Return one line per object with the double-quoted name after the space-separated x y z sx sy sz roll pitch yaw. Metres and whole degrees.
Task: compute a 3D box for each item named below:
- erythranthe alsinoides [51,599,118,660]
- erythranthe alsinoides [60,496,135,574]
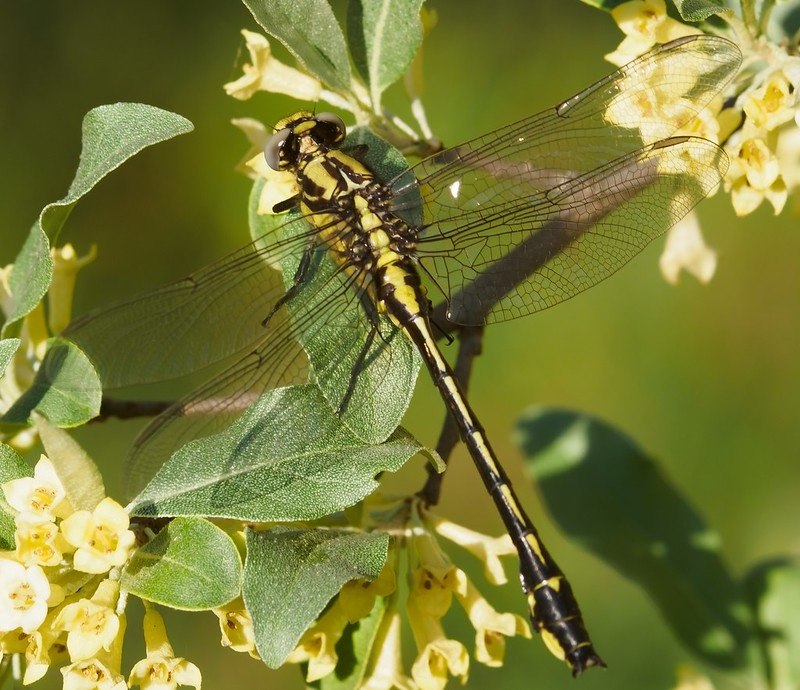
-0.507 0.448 1.588 0.095 0.079 0.051 -27 -39 -4 "erythranthe alsinoides"
-0.488 0.307 1.594 0.106 0.087 0.068 -14 -41 -19 "erythranthe alsinoides"
